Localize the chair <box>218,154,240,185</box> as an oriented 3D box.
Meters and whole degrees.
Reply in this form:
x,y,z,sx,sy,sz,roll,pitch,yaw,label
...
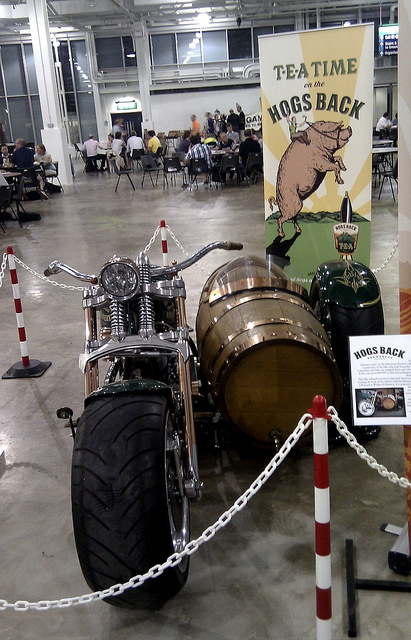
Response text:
x,y,z,sx,sy,sz,roll,pitch,yaw,label
0.700,-4.741,13.715,0.617,1.124,0.830,-2,43,-1,chair

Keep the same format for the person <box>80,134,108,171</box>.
x,y,z,sx,sy,sz,roll,pitch,yaw,label
-4.969,-7.594,20.518,0.921,1.584,1.892,-6,16,-7,person

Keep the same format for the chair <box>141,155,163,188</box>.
x,y,z,sx,sy,sz,roll,pitch,yaw,label
-1.908,-5.176,15.824,0.696,1.094,2.735,-5,16,-4,chair
